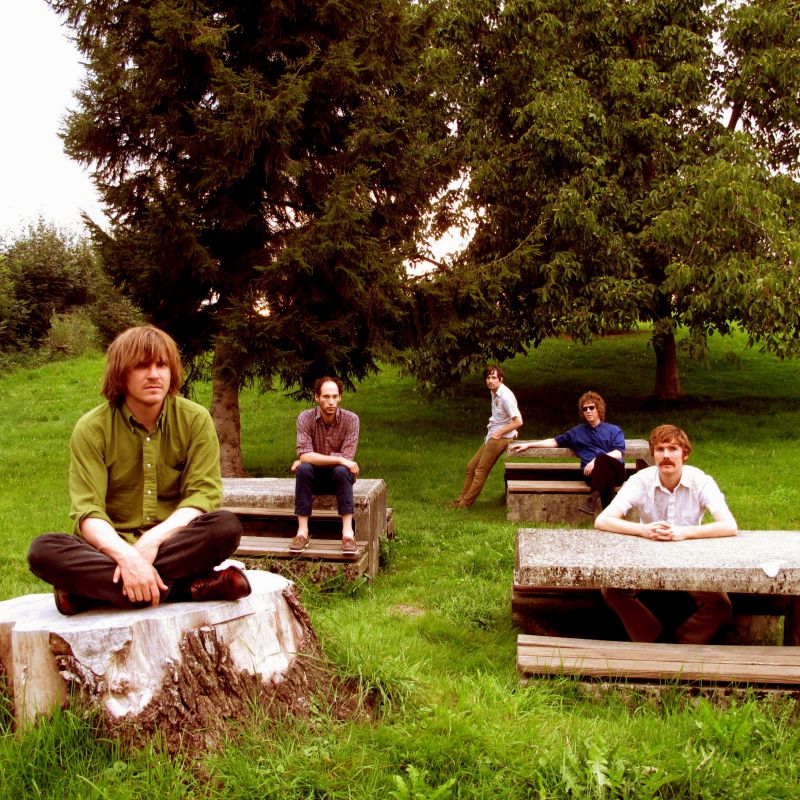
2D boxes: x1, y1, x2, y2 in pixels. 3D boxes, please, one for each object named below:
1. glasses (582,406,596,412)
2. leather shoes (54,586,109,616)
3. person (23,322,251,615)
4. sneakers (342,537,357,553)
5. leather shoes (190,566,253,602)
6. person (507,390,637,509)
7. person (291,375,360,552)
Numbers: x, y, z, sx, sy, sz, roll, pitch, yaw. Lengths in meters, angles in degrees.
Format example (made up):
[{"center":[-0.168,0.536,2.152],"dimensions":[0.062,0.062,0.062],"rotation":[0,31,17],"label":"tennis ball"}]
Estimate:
[{"center":[1.929,0.081,10.375],"dimensions":[0.126,0.086,0.110],"rotation":[1,6,11],"label":"glasses"},{"center":[-1.574,0.999,5.100],"dimensions":[0.272,0.148,0.106],"rotation":[7,11,2],"label":"leather shoes"},{"center":[-1.375,0.331,5.235],"dimensions":[0.980,1.589,0.917],"rotation":[5,-10,-43],"label":"person"},{"center":[-0.386,1.095,7.735],"dimensions":[0.129,0.093,0.125],"rotation":[1,6,7],"label":"sneakers"},{"center":[-0.922,0.952,5.284],"dimensions":[0.325,0.188,0.142],"rotation":[-9,-7,11],"label":"leather shoes"},{"center":[1.785,0.537,10.315],"dimensions":[1.066,1.654,0.855],"rotation":[-2,-29,2],"label":"person"},{"center":[-0.604,0.506,8.160],"dimensions":[0.529,1.339,0.912],"rotation":[-1,6,-5],"label":"person"}]
